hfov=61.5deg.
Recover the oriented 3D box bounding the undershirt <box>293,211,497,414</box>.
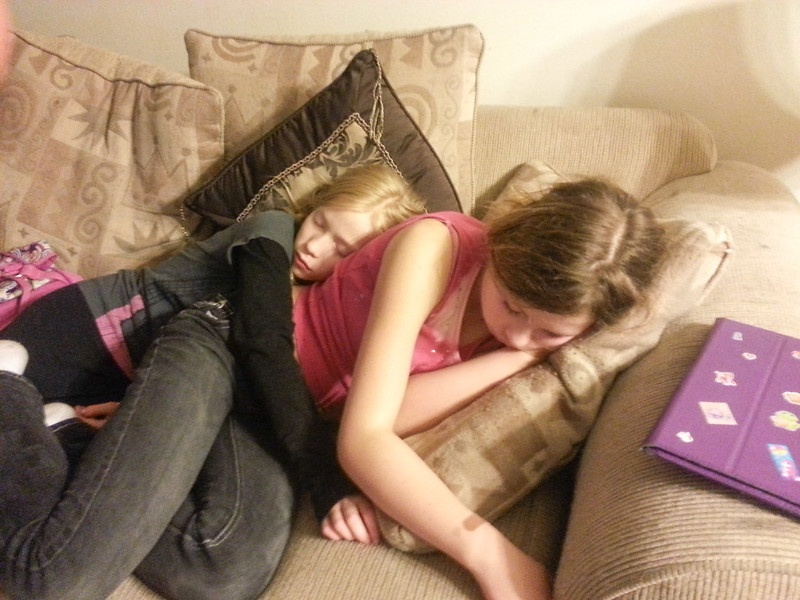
[{"bbox_3d":[-0.005,0.039,1.370,0.453,0.286,0.206,-24,45,18],"label":"undershirt"}]

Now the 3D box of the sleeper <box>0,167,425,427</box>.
[{"bbox_3d":[-0.400,-0.003,1.436,0.828,0.194,0.245,-20,58,-11],"label":"sleeper"}]

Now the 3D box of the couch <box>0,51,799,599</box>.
[{"bbox_3d":[-0.075,0.058,1.364,1.201,0.927,0.437,11,-15,11],"label":"couch"}]

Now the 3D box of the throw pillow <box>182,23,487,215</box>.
[{"bbox_3d":[-0.068,-0.510,1.882,0.574,0.478,0.144,-24,-1,1],"label":"throw pillow"}]
